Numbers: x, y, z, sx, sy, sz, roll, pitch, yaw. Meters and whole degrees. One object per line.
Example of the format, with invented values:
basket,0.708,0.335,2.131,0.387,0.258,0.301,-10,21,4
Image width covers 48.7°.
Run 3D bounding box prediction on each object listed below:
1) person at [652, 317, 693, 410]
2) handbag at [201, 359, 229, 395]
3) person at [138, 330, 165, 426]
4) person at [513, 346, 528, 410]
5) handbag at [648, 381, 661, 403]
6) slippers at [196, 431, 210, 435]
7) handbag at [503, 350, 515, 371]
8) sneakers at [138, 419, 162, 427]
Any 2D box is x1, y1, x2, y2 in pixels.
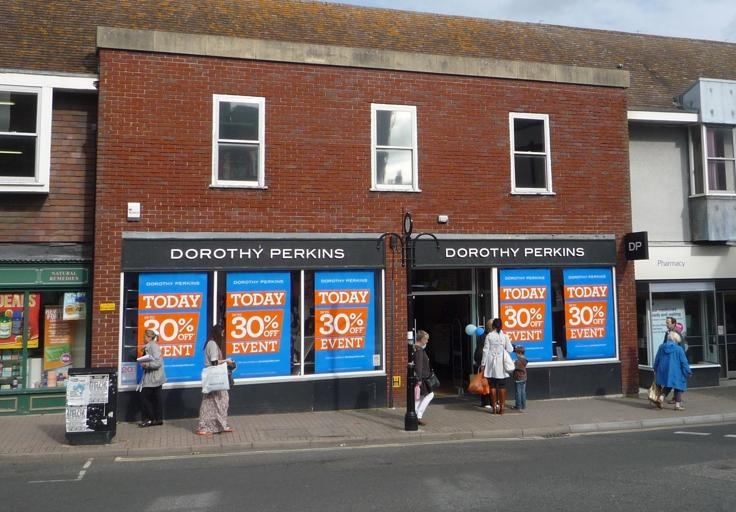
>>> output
person,7.909,2.833,21.156,0.856,2.222,1.286,-4,-6,21
handbag,-3.440,2.752,18.494,0.711,0.740,0.329,1,-15,-13
person,-5.047,2.865,19.061,0.557,2.235,0.572,0,-6,-16
person,3.912,3.118,20.794,0.345,1.619,0.574,-3,-6,10
handbag,7.327,3.505,20.844,0.273,0.531,0.425,-2,-6,-2
slippers,-3.728,4.019,18.431,0.339,0.092,0.149,-4,-6,11
handbag,3.530,2.615,20.349,0.223,0.554,0.465,-19,-19,33
sneakers,-5.121,3.952,19.189,0.545,0.214,0.205,5,-10,-10
